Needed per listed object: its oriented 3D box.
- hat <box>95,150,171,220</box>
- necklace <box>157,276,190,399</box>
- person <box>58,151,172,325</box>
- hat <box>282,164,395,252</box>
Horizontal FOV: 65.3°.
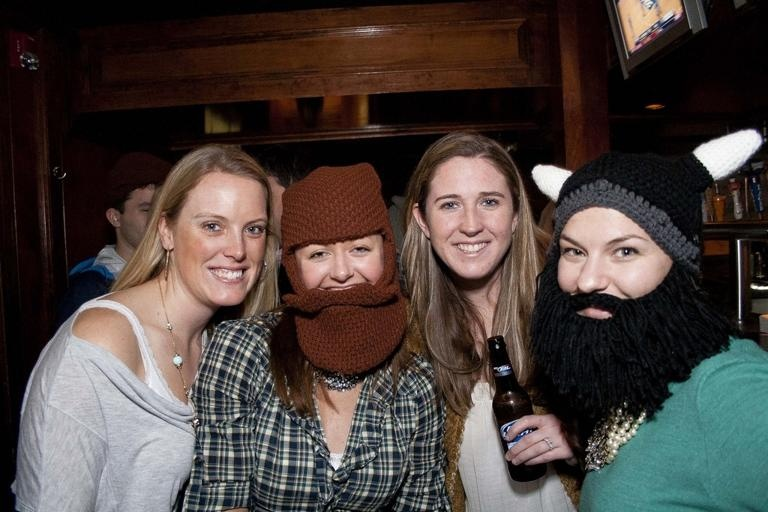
[{"bbox_3d":[-1.653,-0.483,4.085,0.518,0.463,0.396,2,12,-34],"label":"hat"},{"bbox_3d":[-0.992,0.389,2.802,0.051,0.564,0.085,-15,-2,-19],"label":"necklace"},{"bbox_3d":[-1.644,-0.113,3.595,0.535,0.966,0.990,3,15,-23],"label":"person"},{"bbox_3d":[-0.231,-0.184,2.790,0.429,0.346,0.422,-7,-2,42],"label":"hat"}]
